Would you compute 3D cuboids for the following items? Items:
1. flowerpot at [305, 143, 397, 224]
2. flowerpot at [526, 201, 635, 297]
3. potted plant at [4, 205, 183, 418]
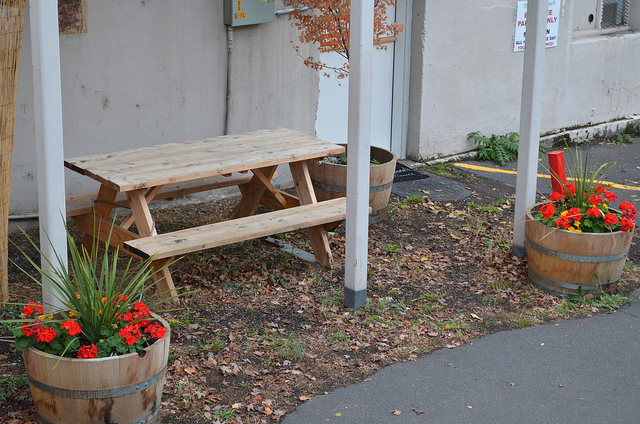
[{"bbox_3d":[0.385,-0.397,6.816,1.030,0.729,1.070,-3,18,-10],"label":"flowerpot"},{"bbox_3d":[2.544,0.386,5.613,0.890,0.596,0.830,5,15,2],"label":"flowerpot"},{"bbox_3d":[-1.697,0.769,4.182,1.369,1.414,1.307,3,9,-1],"label":"potted plant"}]
